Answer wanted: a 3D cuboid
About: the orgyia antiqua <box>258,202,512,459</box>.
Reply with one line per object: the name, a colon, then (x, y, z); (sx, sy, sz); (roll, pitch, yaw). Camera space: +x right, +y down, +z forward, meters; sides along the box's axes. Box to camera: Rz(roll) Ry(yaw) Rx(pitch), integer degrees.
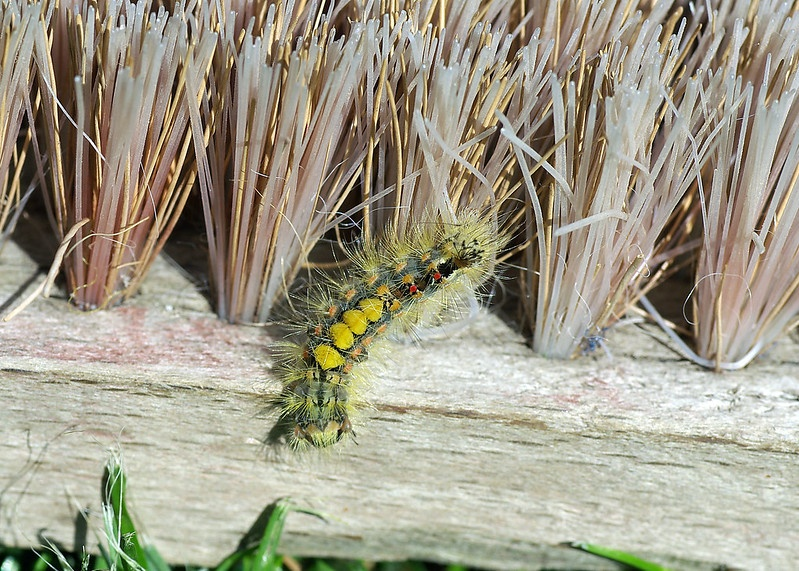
orgyia antiqua: (-0.032, 0.049, 1.542); (0.261, 0.193, 0.535); (40, 82, 8)
